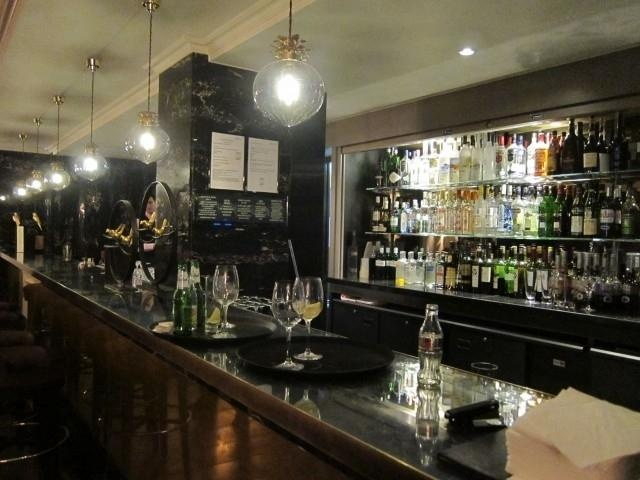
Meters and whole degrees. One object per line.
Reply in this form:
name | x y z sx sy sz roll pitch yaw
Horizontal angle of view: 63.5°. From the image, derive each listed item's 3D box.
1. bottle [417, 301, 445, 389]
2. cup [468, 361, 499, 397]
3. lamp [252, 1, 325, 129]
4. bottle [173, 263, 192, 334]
bottle | 0.390 0.361 1.823 0.080 0.269 0.191 2 1 13
cup | 0.713 0.621 2.244 0.113 0.183 0.113 13 -26 6
lamp | -0.156 -0.779 2.495 0.329 0.421 0.238 2 1 10
bottle | -0.577 0.246 2.185 0.080 0.209 0.159 2 1 -15
